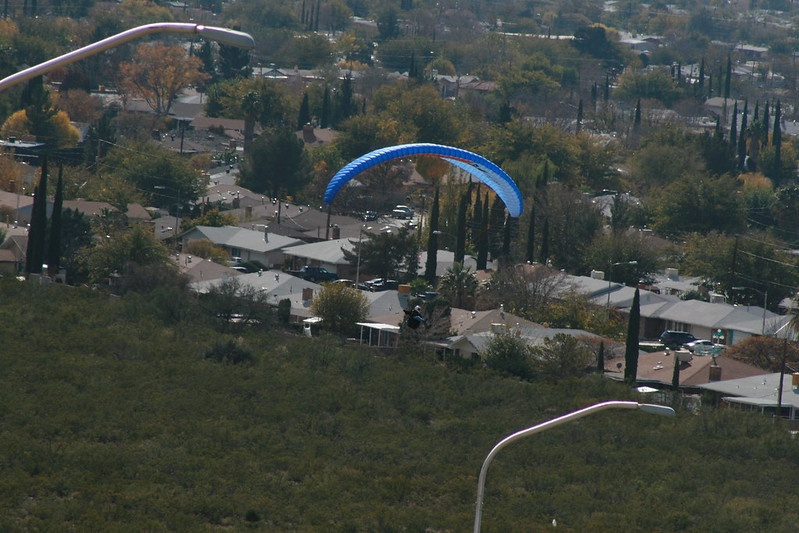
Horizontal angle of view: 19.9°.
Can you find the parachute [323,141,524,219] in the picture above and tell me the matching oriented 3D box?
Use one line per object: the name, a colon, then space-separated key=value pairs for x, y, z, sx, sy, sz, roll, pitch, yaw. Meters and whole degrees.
parachute: x=3.742 y=-9.187 z=243.430 sx=22.473 sy=7.355 sz=6.492 roll=-1 pitch=8 yaw=-40
